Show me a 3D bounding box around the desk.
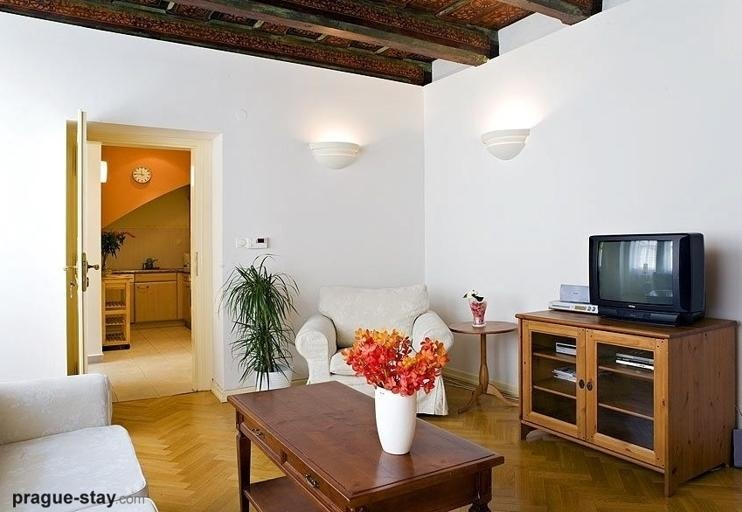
[{"bbox_3d":[1.048,1.015,4.794,0.630,0.715,0.651,-3,-9,3],"label":"desk"}]

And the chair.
[{"bbox_3d":[0.053,0.874,4.848,1.388,1.054,0.810,-3,10,5],"label":"chair"}]

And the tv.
[{"bbox_3d":[2.036,0.162,3.818,0.403,0.611,0.705,-1,2,-39],"label":"tv"}]

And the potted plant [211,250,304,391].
[{"bbox_3d":[-1.008,0.646,4.882,0.775,1.265,0.777,-3,8,-16],"label":"potted plant"}]

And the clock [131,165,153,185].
[{"bbox_3d":[-3.578,-1.257,8.034,0.290,0.294,0.074,-6,10,-35],"label":"clock"}]

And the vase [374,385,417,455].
[{"bbox_3d":[0.140,0.842,2.705,0.248,0.293,0.251,2,3,-28],"label":"vase"}]

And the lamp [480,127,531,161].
[{"bbox_3d":[1.293,-1.069,4.954,0.225,0.296,0.407,-7,10,-42],"label":"lamp"}]

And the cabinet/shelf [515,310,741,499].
[{"bbox_3d":[1.962,0.881,4.003,1.031,1.220,1.684,0,-1,-36],"label":"cabinet/shelf"}]

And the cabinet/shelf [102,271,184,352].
[{"bbox_3d":[-3.383,0.723,7.793,1.435,1.086,0.873,1,-2,-29],"label":"cabinet/shelf"}]

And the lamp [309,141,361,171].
[{"bbox_3d":[-0.378,-1.055,5.395,0.468,0.271,0.242,-5,9,-30],"label":"lamp"}]

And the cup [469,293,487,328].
[{"bbox_3d":[0.988,0.508,4.741,0.151,0.308,0.271,1,8,11],"label":"cup"}]
